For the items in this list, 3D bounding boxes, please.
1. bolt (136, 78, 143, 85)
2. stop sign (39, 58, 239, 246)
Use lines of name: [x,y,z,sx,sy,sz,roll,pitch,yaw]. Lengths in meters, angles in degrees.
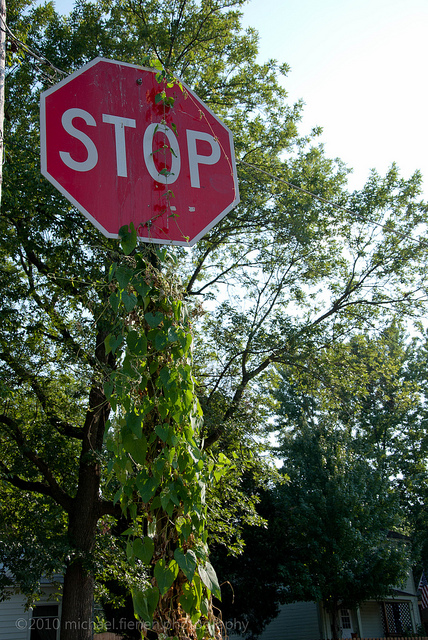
bolt: [-0.268,-0.856,2.470,0.020,0.018,0.008,10,-2,-15]
stop sign: [-0.251,-0.590,2.407,0.786,0.611,0.060,0,-4,-36]
